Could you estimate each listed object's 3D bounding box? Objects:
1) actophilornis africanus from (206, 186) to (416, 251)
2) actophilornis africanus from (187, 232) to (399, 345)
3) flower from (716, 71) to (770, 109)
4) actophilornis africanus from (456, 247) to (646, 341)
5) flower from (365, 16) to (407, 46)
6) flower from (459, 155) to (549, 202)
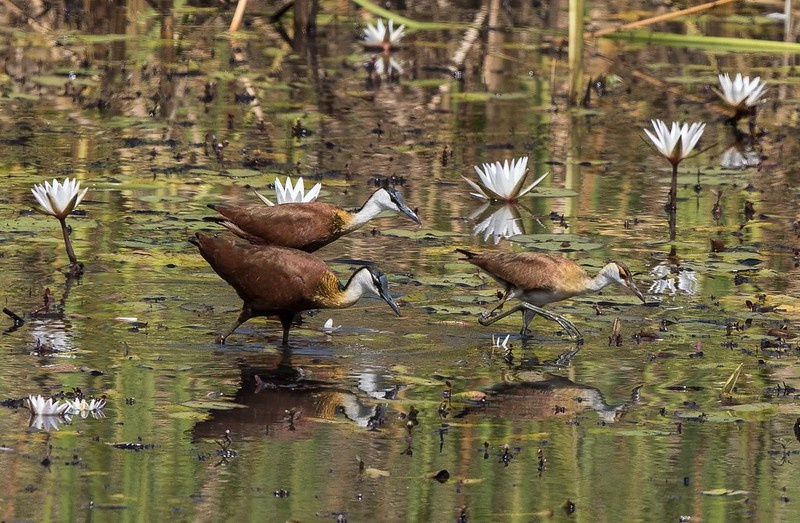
[{"bbox_3d":[-0.855,-0.350,10.500,2.348,0.732,0.660,6,21,25],"label":"actophilornis africanus"},{"bbox_3d":[-0.957,0.258,9.106,1.691,0.957,0.423,2,6,-3],"label":"actophilornis africanus"},{"bbox_3d":[5.425,-2.729,16.545,0.579,0.529,1.390,5,4,20],"label":"flower"},{"bbox_3d":[1.329,0.213,9.436,1.807,0.498,0.615,11,18,37],"label":"actophilornis africanus"},{"bbox_3d":[-0.337,-4.717,21.474,0.782,0.550,1.000,2,4,-5],"label":"flower"},{"bbox_3d":[1.324,-0.961,13.361,0.786,0.243,0.660,-7,-7,-5],"label":"flower"}]
